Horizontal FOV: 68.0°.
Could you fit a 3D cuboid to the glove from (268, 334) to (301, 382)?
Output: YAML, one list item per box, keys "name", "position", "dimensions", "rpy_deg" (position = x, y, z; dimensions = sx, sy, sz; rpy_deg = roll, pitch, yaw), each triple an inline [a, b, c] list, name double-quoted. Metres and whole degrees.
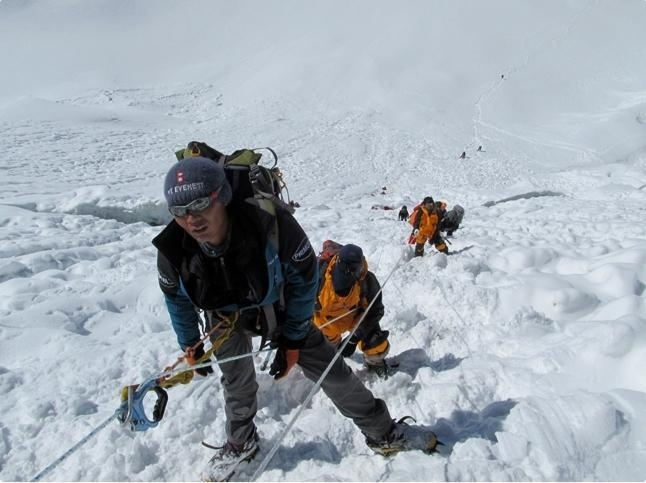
- name: "glove"
  position: [-0.357, 1.038, 4.302]
  dimensions: [0.249, 0.163, 0.396]
  rpy_deg: [29, 83, 21]

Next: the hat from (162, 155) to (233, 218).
- name: "hat"
  position: [-1.076, -0.509, 4.120]
  dimensions: [0.632, 0.458, 0.631]
  rpy_deg: [-9, 17, 8]

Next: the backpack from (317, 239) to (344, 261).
- name: "backpack"
  position: [0.097, 0.108, 5.735]
  dimensions: [0.249, 0.073, 0.240]
  rpy_deg: [38, 94, 31]

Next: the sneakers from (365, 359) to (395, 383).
- name: "sneakers"
  position: [0.685, 1.496, 5.711]
  dimensions: [0.348, 0.146, 0.180]
  rpy_deg: [26, 16, 12]

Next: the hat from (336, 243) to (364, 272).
- name: "hat"
  position: [0.303, 0.140, 5.336]
  dimensions: [0.257, 0.262, 0.301]
  rpy_deg: [16, 31, 13]
